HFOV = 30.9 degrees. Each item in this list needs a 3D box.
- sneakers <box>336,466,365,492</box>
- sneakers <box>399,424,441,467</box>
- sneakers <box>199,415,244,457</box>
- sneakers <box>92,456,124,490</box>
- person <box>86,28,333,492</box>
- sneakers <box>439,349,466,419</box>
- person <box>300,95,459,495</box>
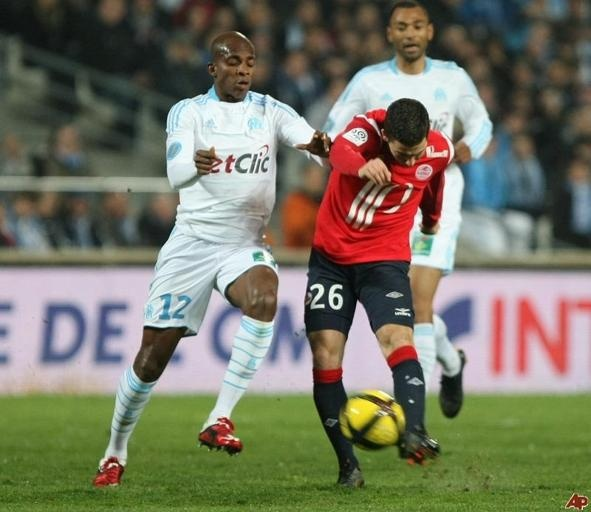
[{"bbox_3d":[0.342,1.373,6.693,0.174,0.129,0.163,0,2,-3],"label":"sneakers"},{"bbox_3d":[0.712,1.105,6.198,0.220,0.113,0.175,2,37,-8],"label":"sneakers"},{"bbox_3d":[-0.442,1.060,6.390,0.133,0.223,0.360,29,-15,-34],"label":"sneakers"},{"bbox_3d":[-1.193,1.368,6.848,0.183,0.155,0.266,0,2,-7],"label":"sneakers"},{"bbox_3d":[-0.504,0.008,6.793,1.338,2.872,0.762,0,1,-2],"label":"person"},{"bbox_3d":[1.293,1.079,8.867,0.170,0.608,0.219,6,4,29],"label":"sneakers"},{"bbox_3d":[0.497,0.236,6.645,0.918,2.393,1.001,0,1,9],"label":"person"}]
